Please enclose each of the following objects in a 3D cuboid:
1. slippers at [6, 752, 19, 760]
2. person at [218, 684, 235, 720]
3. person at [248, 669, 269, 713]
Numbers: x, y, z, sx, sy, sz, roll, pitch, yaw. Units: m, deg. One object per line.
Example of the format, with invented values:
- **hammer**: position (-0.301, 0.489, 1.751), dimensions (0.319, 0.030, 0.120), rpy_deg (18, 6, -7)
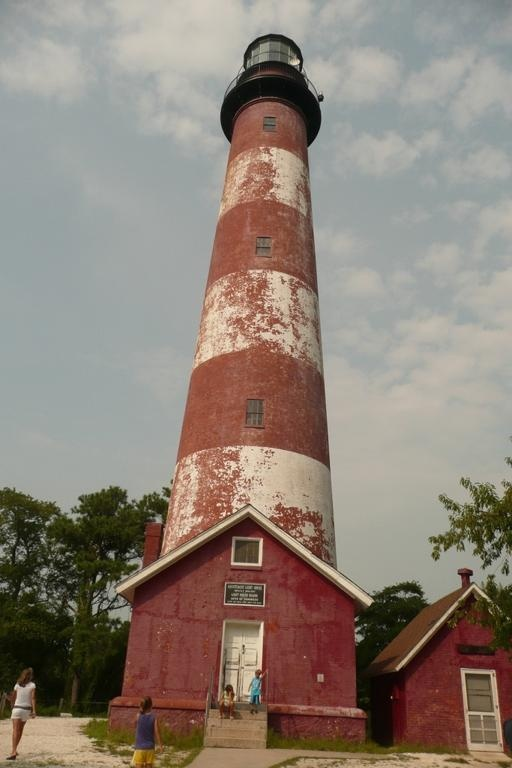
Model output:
- **slippers**: position (-3.718, 5.709, 10.256), dimensions (0.097, 0.109, 0.272), rpy_deg (19, -37, -21)
- **person**: position (-0.591, 6.686, 14.088), dimensions (0.330, 0.647, 0.779), rpy_deg (4, -27, -1)
- **person**: position (0.027, 6.577, 14.331), dimensions (0.292, 0.879, 0.615), rpy_deg (-1, -27, 10)
